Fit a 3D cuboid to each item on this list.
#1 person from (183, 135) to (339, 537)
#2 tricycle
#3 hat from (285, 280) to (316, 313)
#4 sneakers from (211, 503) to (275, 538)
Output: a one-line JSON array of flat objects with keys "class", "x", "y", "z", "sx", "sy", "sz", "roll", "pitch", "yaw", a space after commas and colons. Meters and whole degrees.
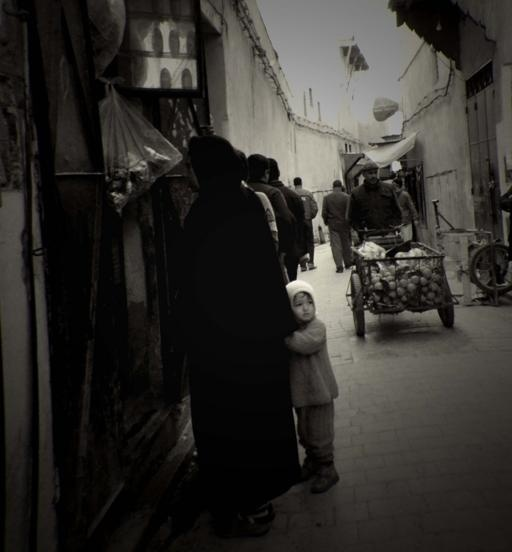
[{"class": "person", "x": -0.076, "y": 0.283, "z": 2.547, "sx": 0.550, "sy": 1.908, "sz": 0.238, "roll": -2, "pitch": 5, "yaw": 4}, {"class": "tricycle", "x": 1.535, "y": -0.036, "z": 6.251, "sx": 0.740, "sy": 0.800, "sz": 1.461, "roll": -3, "pitch": 4, "yaw": 4}, {"class": "hat", "x": 0.231, "y": 0.106, "z": 2.783, "sx": 0.096, "sy": 0.121, "sz": 0.131, "roll": -5, "pitch": -7, "yaw": -7}, {"class": "sneakers", "x": -0.064, "y": 1.180, "z": 2.595, "sx": 0.321, "sy": 0.176, "sz": 0.128, "roll": -3, "pitch": 5, "yaw": -9}]
